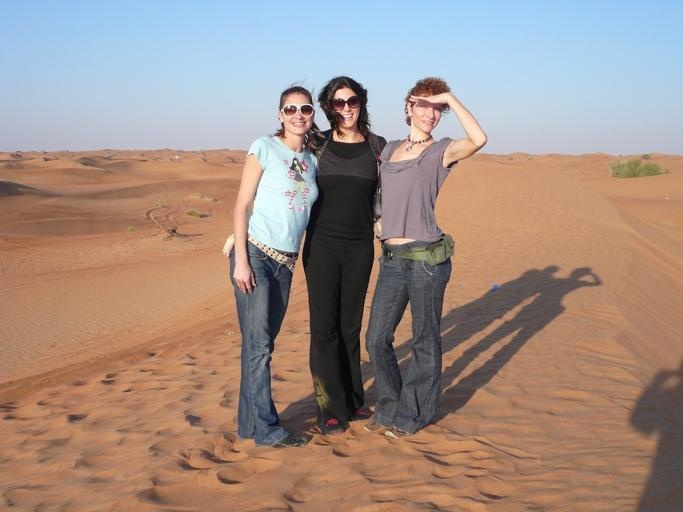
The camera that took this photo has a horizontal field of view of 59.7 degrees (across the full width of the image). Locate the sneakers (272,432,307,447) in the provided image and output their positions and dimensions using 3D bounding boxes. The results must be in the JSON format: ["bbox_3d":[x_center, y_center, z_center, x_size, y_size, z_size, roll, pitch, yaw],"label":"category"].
[{"bbox_3d":[-0.498,1.709,5.550,0.353,0.101,0.116,7,-14,-12],"label":"sneakers"}]

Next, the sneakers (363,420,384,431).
[{"bbox_3d":[0.290,1.669,5.880,0.083,0.066,0.190,0,-1,-19],"label":"sneakers"}]

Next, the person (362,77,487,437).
[{"bbox_3d":[0.604,0.062,5.636,1.124,3.386,0.874,-11,19,-23],"label":"person"}]

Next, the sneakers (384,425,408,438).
[{"bbox_3d":[0.514,1.672,5.682,0.249,0.072,0.077,0,16,18],"label":"sneakers"}]

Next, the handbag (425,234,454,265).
[{"bbox_3d":[0.880,-0.064,5.461,0.290,0.218,0.178,-29,23,-33],"label":"handbag"}]

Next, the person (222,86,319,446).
[{"bbox_3d":[-0.660,0.147,5.509,0.799,3.316,1.032,1,18,12],"label":"person"}]
